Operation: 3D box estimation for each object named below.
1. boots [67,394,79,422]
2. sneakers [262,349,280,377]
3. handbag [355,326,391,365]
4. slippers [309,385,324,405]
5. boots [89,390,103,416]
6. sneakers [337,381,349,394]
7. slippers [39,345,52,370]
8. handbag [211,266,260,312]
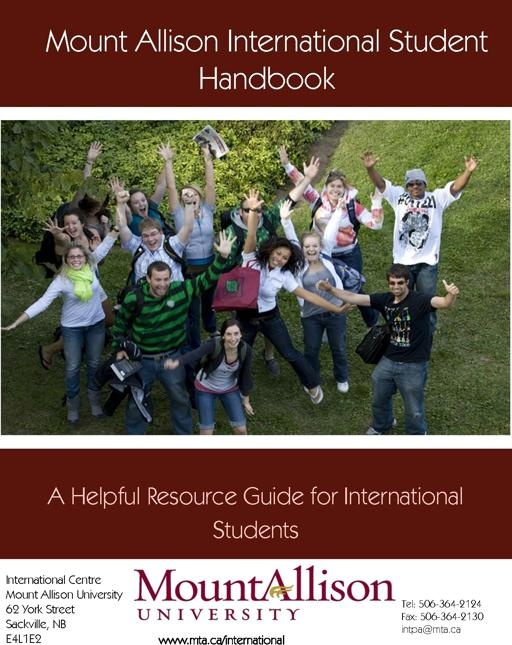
[{"bbox_3d":[-1.769,0.817,5.593,0.134,0.282,0.288,-3,-11,-12],"label":"boots"},{"bbox_3d":[0.166,0.473,6.483,0.134,0.333,0.125,-22,-17,-8],"label":"sneakers"},{"bbox_3d":[0.965,0.174,4.764,0.272,0.376,0.137,-3,31,9],"label":"handbag"},{"bbox_3d":[0.627,0.746,5.913,0.114,0.228,0.089,-17,-26,41],"label":"slippers"},{"bbox_3d":[-1.595,0.798,5.733,0.110,0.246,0.254,-7,56,-15],"label":"boots"},{"bbox_3d":[0.931,0.674,6.129,0.134,0.123,0.123,-7,29,1],"label":"sneakers"},{"bbox_3d":[-2.281,0.374,6.259,0.079,0.260,0.127,-3,10,-3],"label":"slippers"},{"bbox_3d":[-0.163,-0.318,5.067,0.487,0.437,0.165,-3,-18,35],"label":"handbag"}]
